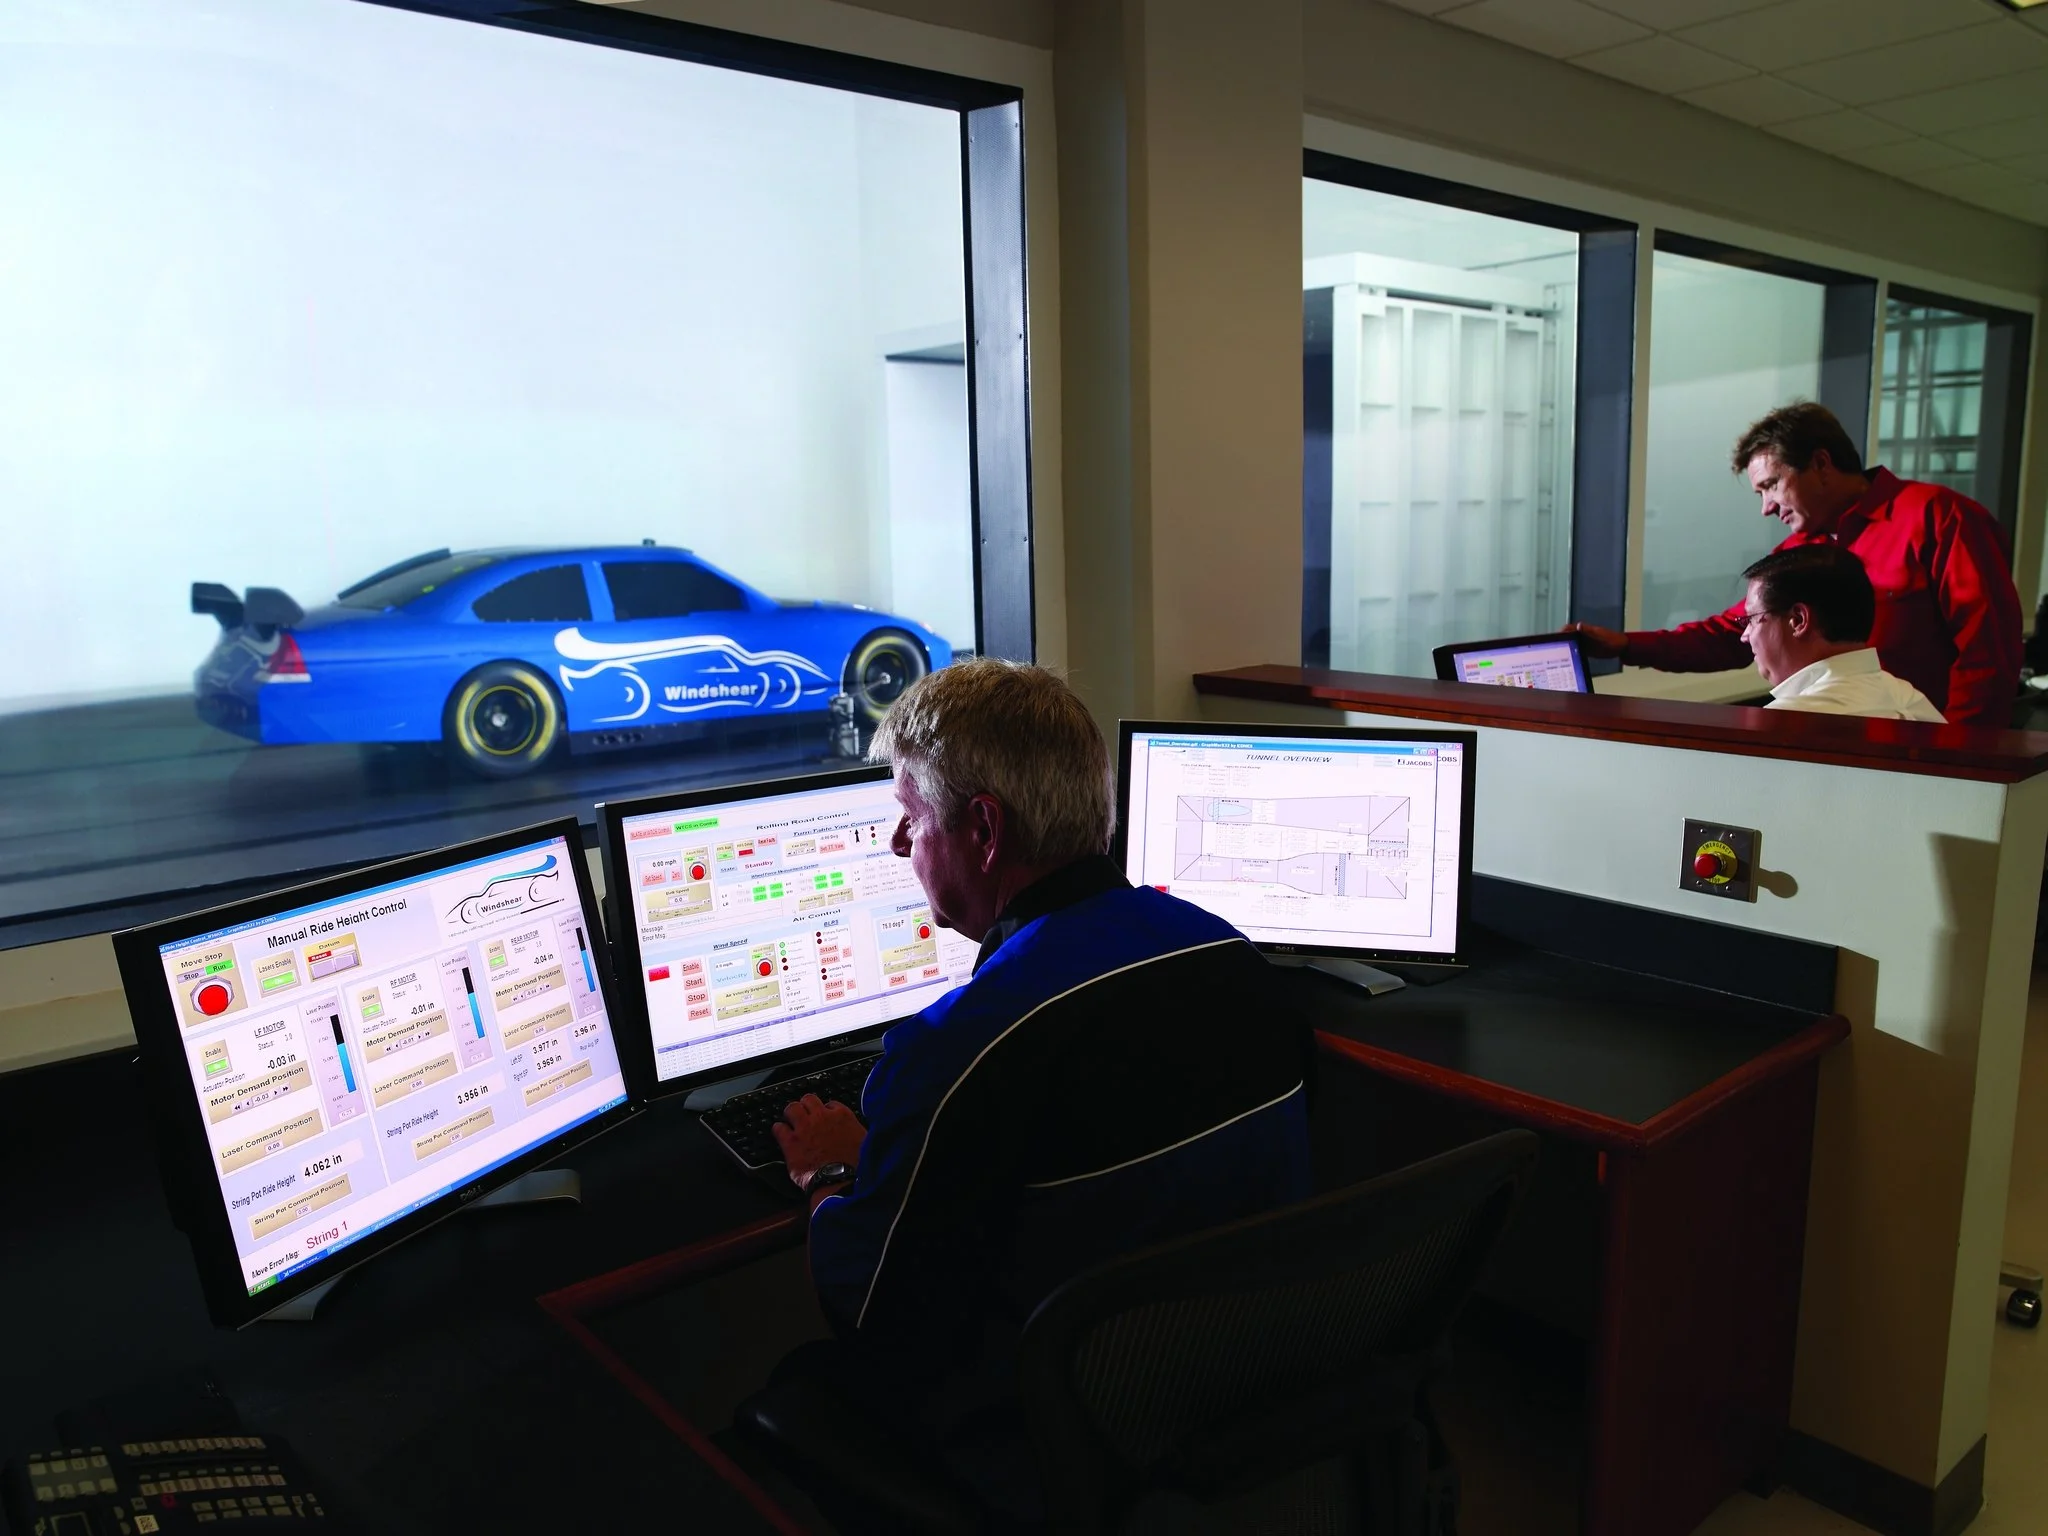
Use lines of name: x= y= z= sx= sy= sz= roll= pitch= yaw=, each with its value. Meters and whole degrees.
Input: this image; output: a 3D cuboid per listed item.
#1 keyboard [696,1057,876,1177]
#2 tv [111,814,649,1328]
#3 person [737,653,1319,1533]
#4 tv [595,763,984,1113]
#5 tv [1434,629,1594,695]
keyboard: x=-0.360 y=0.493 z=2.075 sx=0.116 sy=0.040 sz=0.199 roll=12 pitch=25 yaw=40
tv: x=-0.776 y=0.403 z=1.801 sx=0.079 sy=0.373 sz=0.493 roll=2 pitch=22 yaw=41
person: x=0.113 y=0.230 z=2.039 sx=0.780 sy=1.215 sz=0.854 roll=-14 pitch=18 yaw=-36
tv: x=-0.335 y=0.246 z=2.029 sx=0.434 sy=0.323 sz=0.113 roll=-11 pitch=4 yaw=-31
tv: x=1.252 y=-0.253 z=3.695 sx=0.503 sy=0.156 sz=0.090 roll=-11 pitch=15 yaw=-30
